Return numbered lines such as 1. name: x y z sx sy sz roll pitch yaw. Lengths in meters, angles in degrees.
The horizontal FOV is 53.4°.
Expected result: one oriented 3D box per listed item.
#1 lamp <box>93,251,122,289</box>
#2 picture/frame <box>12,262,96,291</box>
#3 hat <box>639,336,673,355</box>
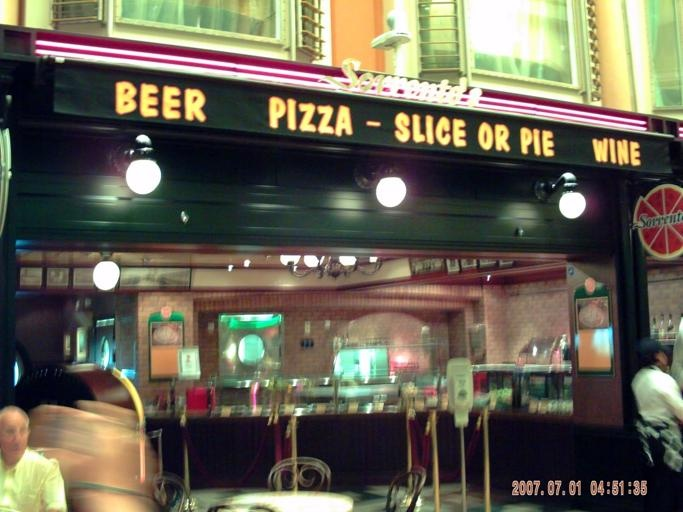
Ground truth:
1. lamp: -3.155 0.218 9.107 0.276 0.379 0.276 -4 -13 -2
2. picture/frame: -5.221 0.405 12.443 1.255 0.429 0.414 1 -14 -24
3. hat: 3.509 0.997 7.556 0.529 0.133 0.502 0 -1 11
